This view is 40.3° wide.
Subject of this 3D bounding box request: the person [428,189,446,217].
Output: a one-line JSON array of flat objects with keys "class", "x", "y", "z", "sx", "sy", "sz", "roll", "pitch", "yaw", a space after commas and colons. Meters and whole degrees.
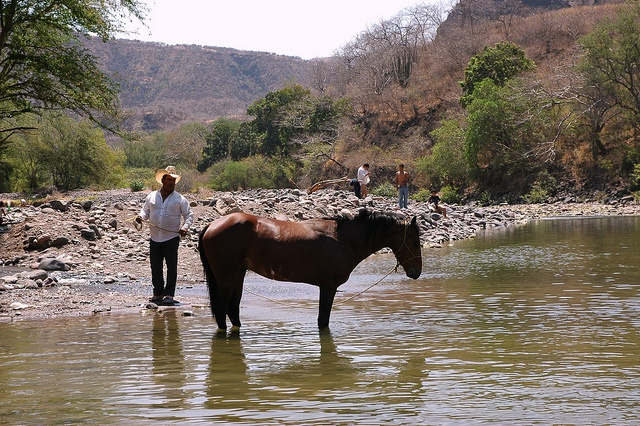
[{"class": "person", "x": 7.003, "y": -0.545, "z": 52.883, "sx": 0.991, "sy": 1.524, "sz": 1.101, "roll": -2, "pitch": -1, "yaw": 7}]
